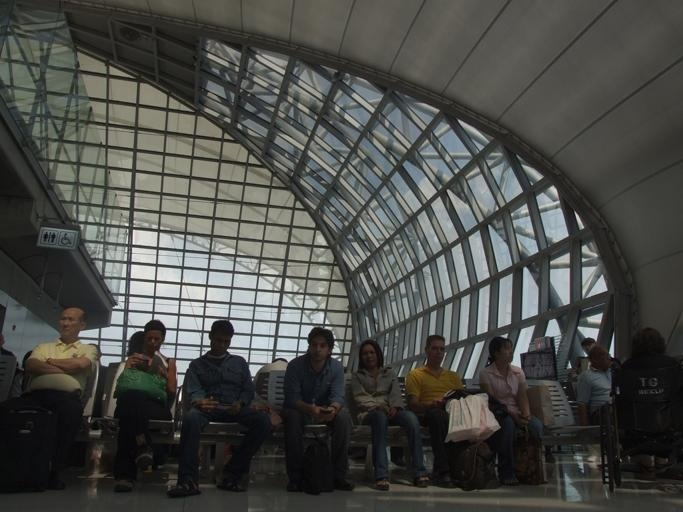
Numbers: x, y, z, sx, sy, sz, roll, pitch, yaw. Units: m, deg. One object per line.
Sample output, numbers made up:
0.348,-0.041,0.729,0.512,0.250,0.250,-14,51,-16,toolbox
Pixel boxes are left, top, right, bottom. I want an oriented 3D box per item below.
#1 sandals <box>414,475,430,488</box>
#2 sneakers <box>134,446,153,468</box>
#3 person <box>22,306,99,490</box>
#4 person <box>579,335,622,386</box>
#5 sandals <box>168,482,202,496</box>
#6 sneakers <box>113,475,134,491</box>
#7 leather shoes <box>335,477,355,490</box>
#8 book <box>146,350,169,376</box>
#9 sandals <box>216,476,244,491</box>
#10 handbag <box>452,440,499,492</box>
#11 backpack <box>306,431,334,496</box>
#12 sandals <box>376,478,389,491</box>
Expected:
0.855,2.361,5.381,0.191,0.125,0.213,4,-25,-6,sandals
-1.907,1.945,4.950,0.152,0.207,0.179,12,-27,-22,sneakers
-3.104,1.484,5.548,0.609,1.902,0.560,-1,-31,-8,person
4.344,1.733,8.547,0.686,0.994,0.366,-3,-5,-31,person
-1.429,2.125,4.667,0.303,0.132,0.175,10,-27,-18,sandals
-2.022,2.123,4.760,0.166,0.123,0.165,11,-27,-21,sneakers
0.024,2.303,5.175,0.194,0.106,0.129,0,-25,2,leather shoes
-2.136,1.243,5.930,0.073,0.260,0.159,-6,-11,41,book
-1.102,2.215,5.021,0.308,0.133,0.131,-1,-8,10,sandals
1.384,2.250,5.585,0.565,0.543,0.521,-9,-21,39,handbag
-0.218,2.075,5.104,0.312,0.536,0.214,12,-26,-23,backpack
0.427,2.303,5.160,0.148,0.095,0.152,4,-25,-6,sandals
